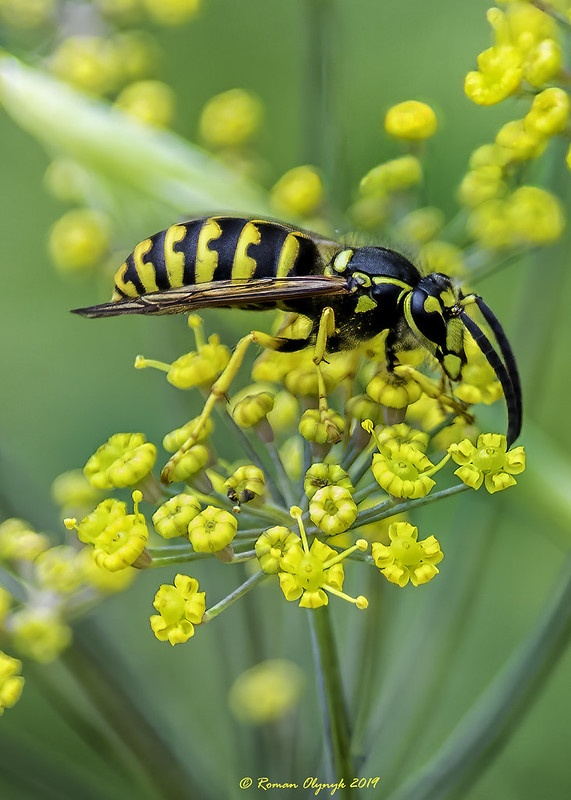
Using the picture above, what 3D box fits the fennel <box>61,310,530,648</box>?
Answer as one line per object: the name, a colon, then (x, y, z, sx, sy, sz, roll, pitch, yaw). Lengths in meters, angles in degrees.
fennel: (-0.010, 0.080, 0.965, 0.382, 0.423, 0.183, -3, 31, 3)
